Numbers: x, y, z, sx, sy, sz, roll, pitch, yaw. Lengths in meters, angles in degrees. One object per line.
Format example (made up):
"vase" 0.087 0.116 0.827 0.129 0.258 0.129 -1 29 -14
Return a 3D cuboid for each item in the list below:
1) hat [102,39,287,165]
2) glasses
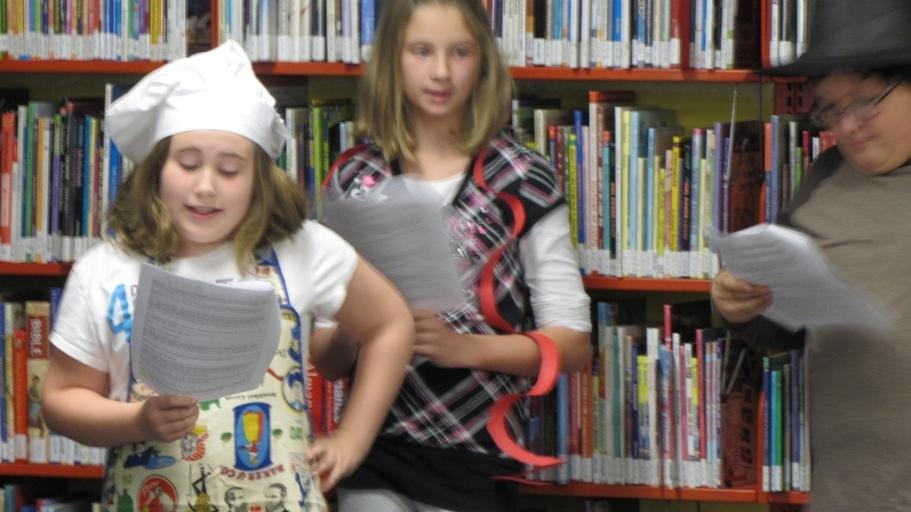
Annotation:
"hat" -0.711 -0.432 3.969 0.428 0.294 0.211 1 -9 -17
"glasses" 1.148 -0.467 4.225 0.165 0.047 0.155 -36 21 -27
